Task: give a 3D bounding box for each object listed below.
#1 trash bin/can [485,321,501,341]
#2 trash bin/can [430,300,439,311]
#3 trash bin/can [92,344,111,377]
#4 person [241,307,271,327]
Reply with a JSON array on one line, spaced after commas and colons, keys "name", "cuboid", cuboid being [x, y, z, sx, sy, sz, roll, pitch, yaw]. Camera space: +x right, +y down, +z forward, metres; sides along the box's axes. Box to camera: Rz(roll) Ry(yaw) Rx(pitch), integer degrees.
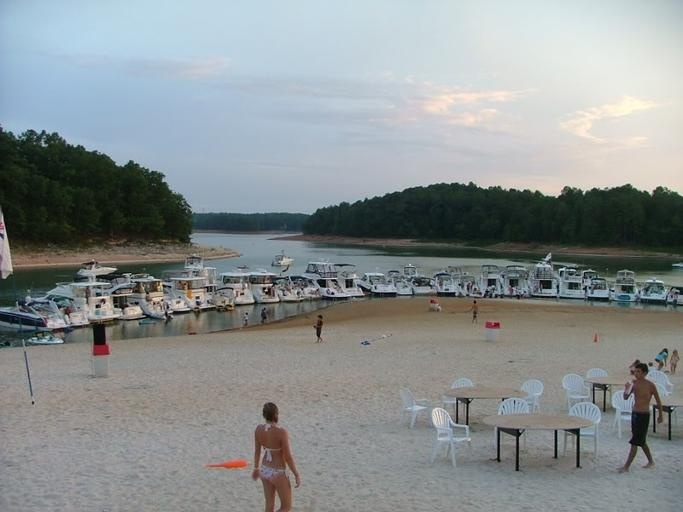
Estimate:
[{"name": "trash bin/can", "cuboid": [6.831, 3.304, 31.447, 0.873, 0.780, 0.795, 0, 0, -3]}, {"name": "trash bin/can", "cuboid": [5.962, 3.180, 44.967, 0.723, 0.590, 0.448, -3, 7, -7]}, {"name": "trash bin/can", "cuboid": [-8.091, 3.502, 24.191, 0.528, 1.086, 0.372, -2, 9, -15]}, {"name": "person", "cuboid": [-5.499, 4.002, 47.499, 1.035, 1.050, 2.013, 7, -1, -35]}]
